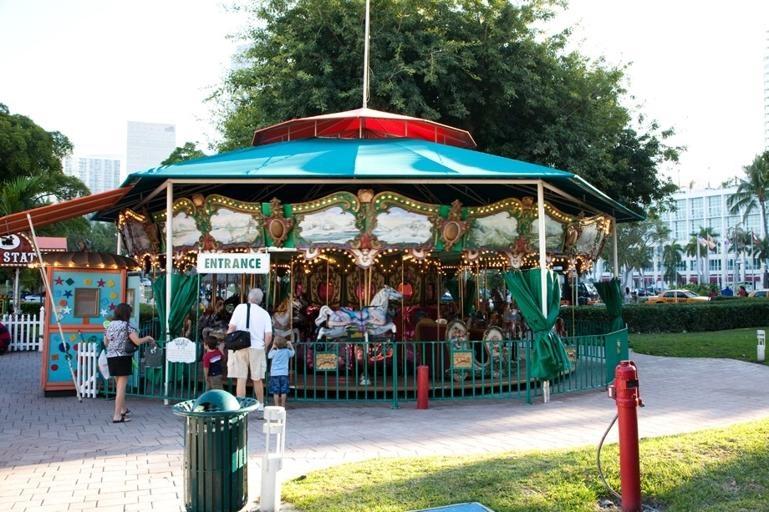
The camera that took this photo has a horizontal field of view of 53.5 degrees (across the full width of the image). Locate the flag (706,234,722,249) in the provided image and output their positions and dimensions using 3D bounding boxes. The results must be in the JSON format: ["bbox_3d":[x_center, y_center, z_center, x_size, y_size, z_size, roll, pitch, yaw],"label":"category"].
[{"bbox_3d":[36.811,-1.617,85.295,1.751,2.371,0.903,23,-23,-38],"label":"flag"}]

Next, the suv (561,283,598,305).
[{"bbox_3d":[10.090,2.028,39.690,2.190,1.110,1.683,-5,-5,35],"label":"suv"}]

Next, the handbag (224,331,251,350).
[{"bbox_3d":[-3.131,1.820,16.387,0.582,0.560,0.370,-5,-17,15],"label":"handbag"}]

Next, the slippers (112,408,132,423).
[{"bbox_3d":[-5.621,3.434,16.430,0.338,0.238,0.746,-1,-4,0],"label":"slippers"}]

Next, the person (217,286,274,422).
[{"bbox_3d":[-3.019,2.041,16.849,1.011,2.722,1.106,4,5,-11],"label":"person"}]

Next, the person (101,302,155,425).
[{"bbox_3d":[-5.620,2.289,16.471,0.819,2.514,0.917,0,-4,-19],"label":"person"}]
